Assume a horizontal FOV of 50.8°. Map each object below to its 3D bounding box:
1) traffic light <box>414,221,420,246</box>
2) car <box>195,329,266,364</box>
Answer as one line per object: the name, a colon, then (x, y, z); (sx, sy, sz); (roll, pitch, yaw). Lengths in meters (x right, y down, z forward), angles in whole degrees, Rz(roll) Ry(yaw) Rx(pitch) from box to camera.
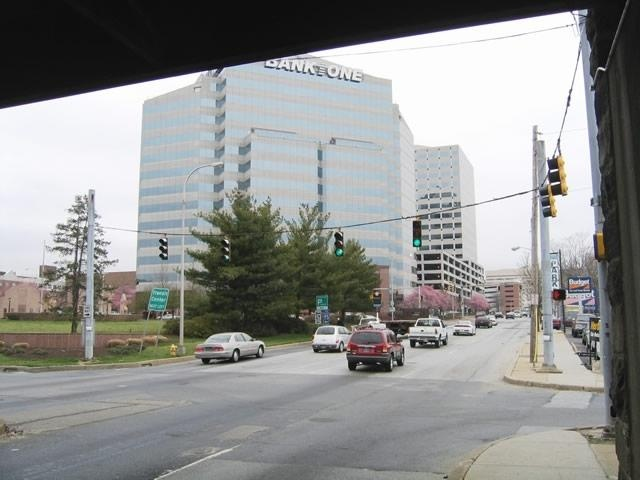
traffic light: (4.059, -0.302, 28.513); (0.292, 0.960, 0.912); (-3, -9, 11)
car: (-4.630, 5.460, 34.794); (1.339, 1.196, 3.500); (-2, -3, 25)
